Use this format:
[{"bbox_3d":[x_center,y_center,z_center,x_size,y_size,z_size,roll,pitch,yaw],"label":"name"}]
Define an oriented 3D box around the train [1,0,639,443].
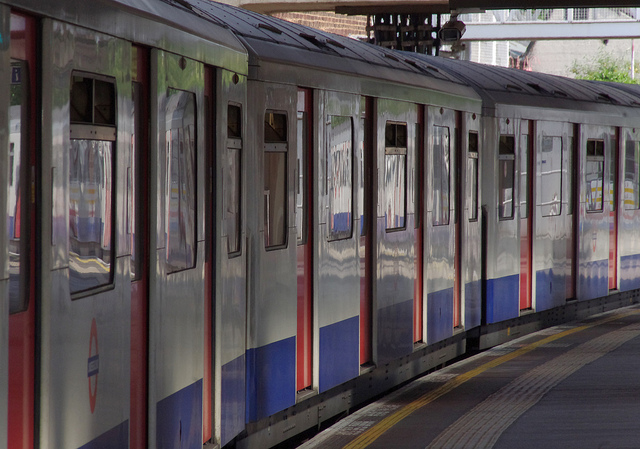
[{"bbox_3d":[0.588,-0.008,10.263,1.835,4.013,9.614,4,7,40],"label":"train"}]
